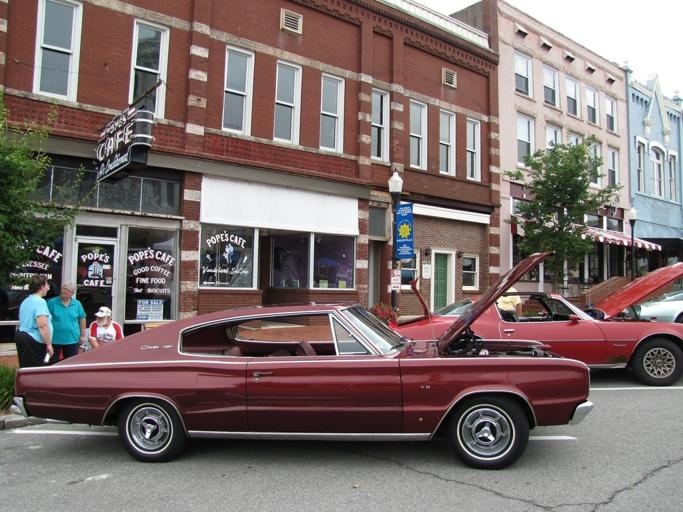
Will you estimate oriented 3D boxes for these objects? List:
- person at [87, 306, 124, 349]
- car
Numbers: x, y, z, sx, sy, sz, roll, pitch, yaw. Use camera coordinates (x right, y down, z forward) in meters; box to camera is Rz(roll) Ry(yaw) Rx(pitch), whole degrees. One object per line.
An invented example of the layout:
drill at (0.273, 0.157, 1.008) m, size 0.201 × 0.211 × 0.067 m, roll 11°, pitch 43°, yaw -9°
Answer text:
person at (-3.948, 1.204, 9.545) m, size 0.603 × 0.680 × 0.437 m, roll 2°, pitch 5°, yaw -2°
car at (0.036, 1.403, 8.312) m, size 7.834 × 2.860 × 2.870 m, roll -2°, pitch -2°, yaw 2°
